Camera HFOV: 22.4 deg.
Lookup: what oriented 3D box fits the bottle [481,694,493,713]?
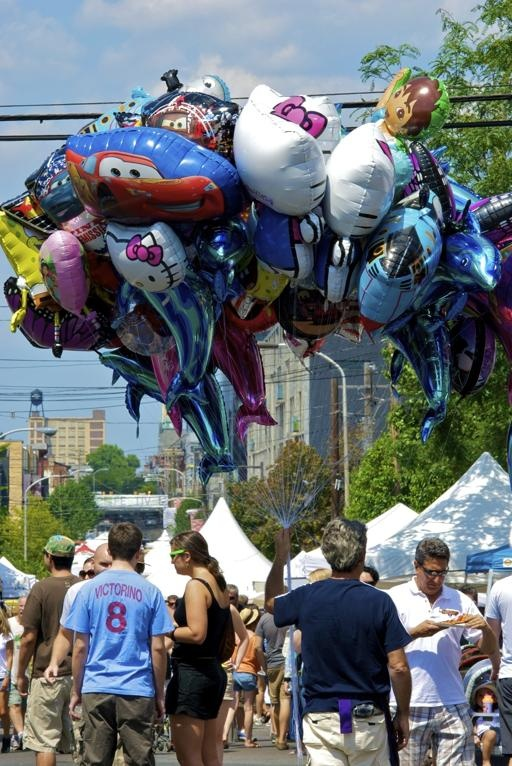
[{"bbox_3d":[1.883,2.623,10.550,0.128,0.147,0.122,-1,-2,26],"label":"bottle"}]

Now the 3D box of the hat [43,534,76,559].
[{"bbox_3d":[-1.242,1.030,8.158,0.146,0.090,0.185,-7,24,-43],"label":"hat"}]
